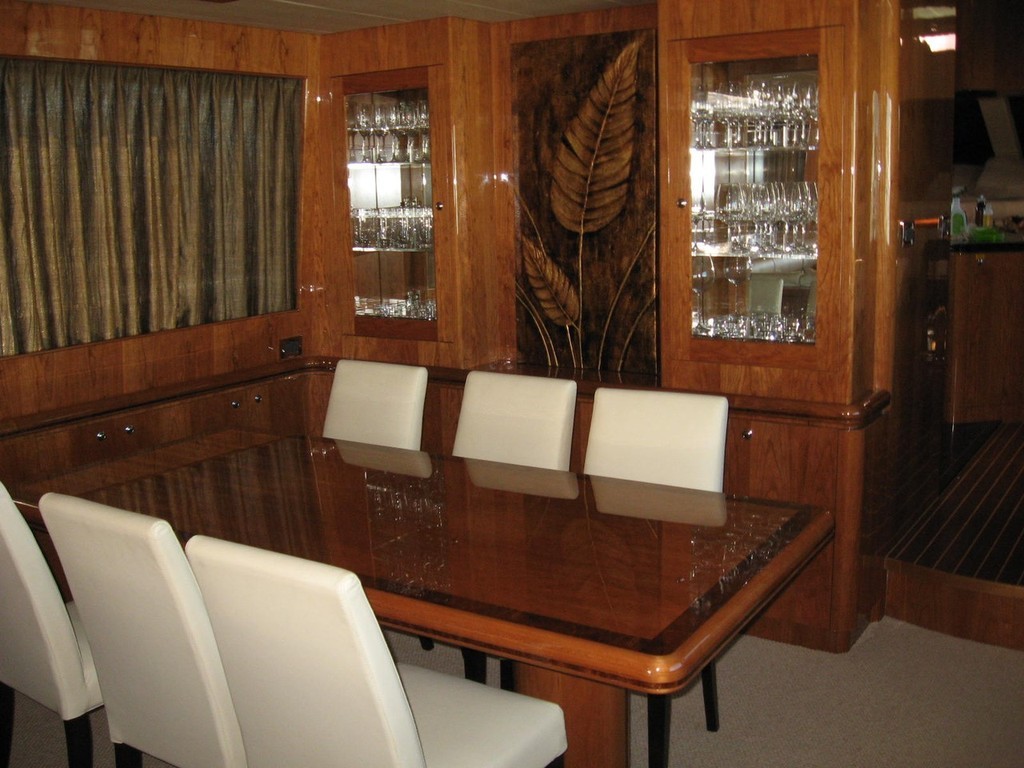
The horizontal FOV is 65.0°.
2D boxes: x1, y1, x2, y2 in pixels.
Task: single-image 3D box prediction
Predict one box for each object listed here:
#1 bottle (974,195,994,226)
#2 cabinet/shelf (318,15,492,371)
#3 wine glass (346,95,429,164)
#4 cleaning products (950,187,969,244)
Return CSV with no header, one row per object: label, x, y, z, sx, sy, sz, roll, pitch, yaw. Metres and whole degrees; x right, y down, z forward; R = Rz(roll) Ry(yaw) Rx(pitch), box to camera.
bottle,2.980,-1.093,5.083,0.087,0.199,0.071,3,14,20
cabinet/shelf,-0.556,-0.999,4.437,0.808,1.710,0.408,6,14,29
wine glass,-0.644,-1.360,4.256,0.336,0.265,0.119,7,13,27
cleaning products,2.839,-1.061,5.086,0.103,0.304,0.237,6,16,30
